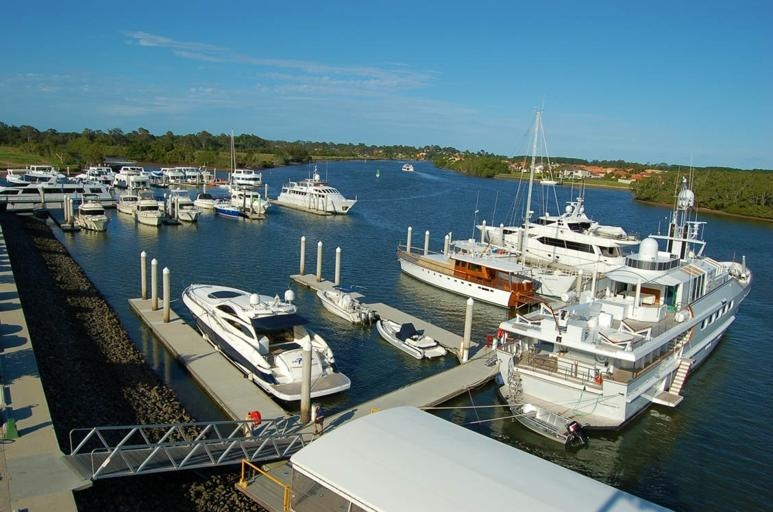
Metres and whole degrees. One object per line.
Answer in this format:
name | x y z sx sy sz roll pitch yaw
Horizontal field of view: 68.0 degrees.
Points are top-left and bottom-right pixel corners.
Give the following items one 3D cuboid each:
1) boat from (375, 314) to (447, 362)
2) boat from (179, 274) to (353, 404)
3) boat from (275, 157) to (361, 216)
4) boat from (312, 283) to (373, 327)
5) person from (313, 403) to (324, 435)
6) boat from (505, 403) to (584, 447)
boat | 1.439 4.905 34.574 1.978 1.127 3.773 -6 17 -44
boat | -7.178 4.062 32.572 4.076 3.900 13.100 -9 24 -38
boat | -10.457 -9.823 85.111 15.391 5.203 4.563 15 21 41
boat | -3.067 3.273 39.688 1.860 1.564 5.269 0 11 -35
person | -3.101 7.449 26.103 0.513 1.010 0.879 3 13 -7
boat | 7.541 8.044 27.889 3.821 1.156 1.368 20 45 38
